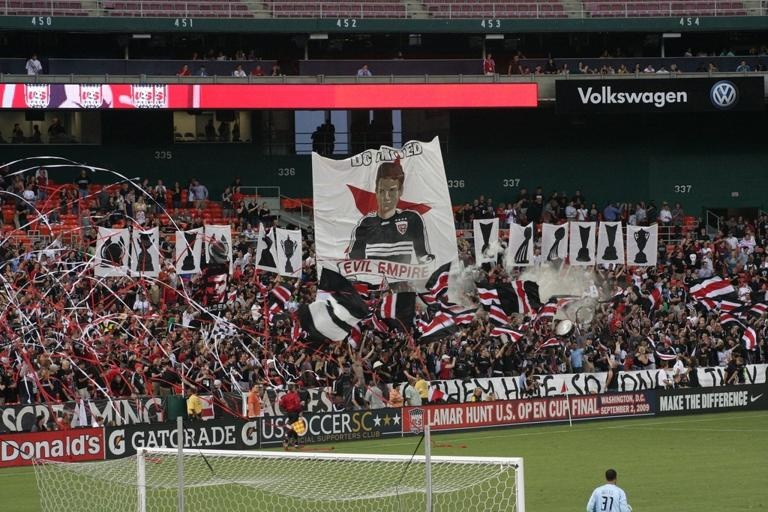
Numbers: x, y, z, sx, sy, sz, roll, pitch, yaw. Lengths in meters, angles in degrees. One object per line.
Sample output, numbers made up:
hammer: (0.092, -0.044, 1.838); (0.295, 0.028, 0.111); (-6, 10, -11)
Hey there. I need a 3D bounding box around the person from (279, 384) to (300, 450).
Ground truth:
person: (-3.793, 6.308, 76.888); (0.940, 2.623, 0.881); (-18, 29, -31)
